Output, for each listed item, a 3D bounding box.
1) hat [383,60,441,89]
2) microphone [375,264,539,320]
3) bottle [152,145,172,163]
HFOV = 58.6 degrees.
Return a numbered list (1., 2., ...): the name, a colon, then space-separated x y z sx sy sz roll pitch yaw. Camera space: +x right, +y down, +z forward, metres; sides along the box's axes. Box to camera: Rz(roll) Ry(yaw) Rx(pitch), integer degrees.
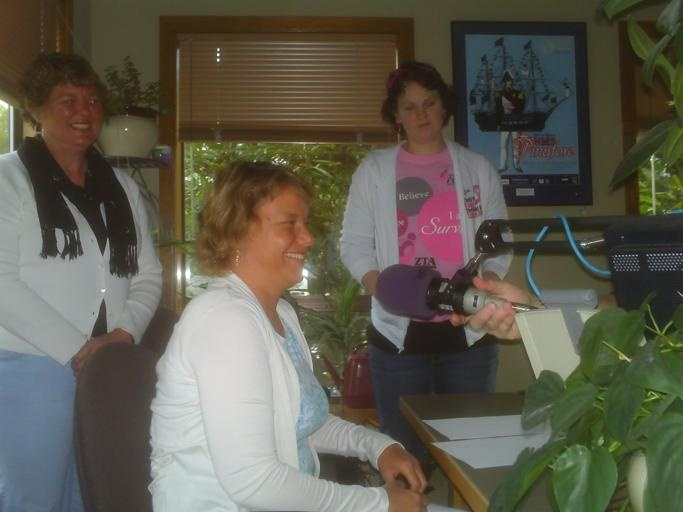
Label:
1. hat: 0.268 -0.711 2.403 0.146 0.060 0.150 -9 7 -36
2. microphone: 0.222 0.064 1.375 0.350 0.116 0.116 7 2 34
3. bottle: -0.965 -0.555 3.306 0.098 0.101 0.095 6 7 32
